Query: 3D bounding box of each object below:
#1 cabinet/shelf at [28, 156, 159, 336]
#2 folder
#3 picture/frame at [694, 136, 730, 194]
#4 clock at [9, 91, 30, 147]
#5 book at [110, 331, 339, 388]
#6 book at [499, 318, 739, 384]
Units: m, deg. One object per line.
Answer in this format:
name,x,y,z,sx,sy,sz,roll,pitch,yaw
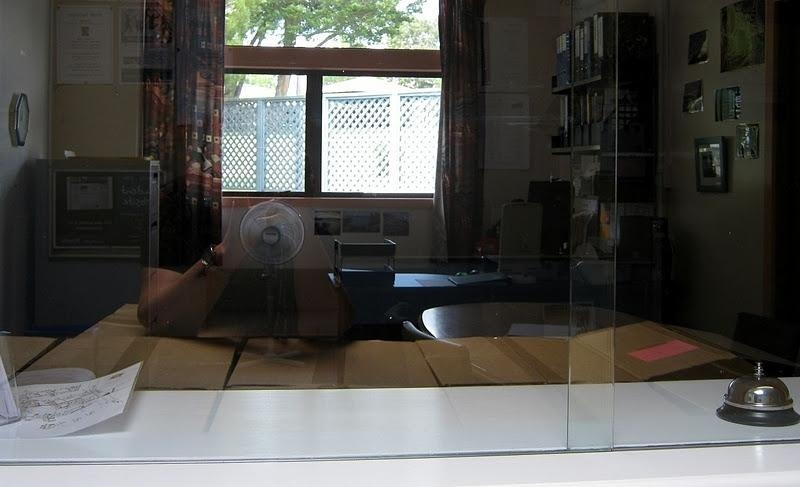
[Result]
cabinet/shelf,-0.892,0.036,1.974,0.465,0.537,0.433,-1,-6,19
folder,0.538,-0.566,1.765,0.071,0.195,0.188,-5,9,-30
picture/frame,1.063,-0.269,2.041,0.177,0.185,0.045,-6,9,-35
clock,-1.137,-0.370,1.788,0.061,0.160,0.024,-3,7,-13
book,-0.504,0.380,1.986,0.488,0.198,0.017,1,19,-3
book,0.757,0.355,1.879,0.493,0.114,0.267,-3,6,-11
